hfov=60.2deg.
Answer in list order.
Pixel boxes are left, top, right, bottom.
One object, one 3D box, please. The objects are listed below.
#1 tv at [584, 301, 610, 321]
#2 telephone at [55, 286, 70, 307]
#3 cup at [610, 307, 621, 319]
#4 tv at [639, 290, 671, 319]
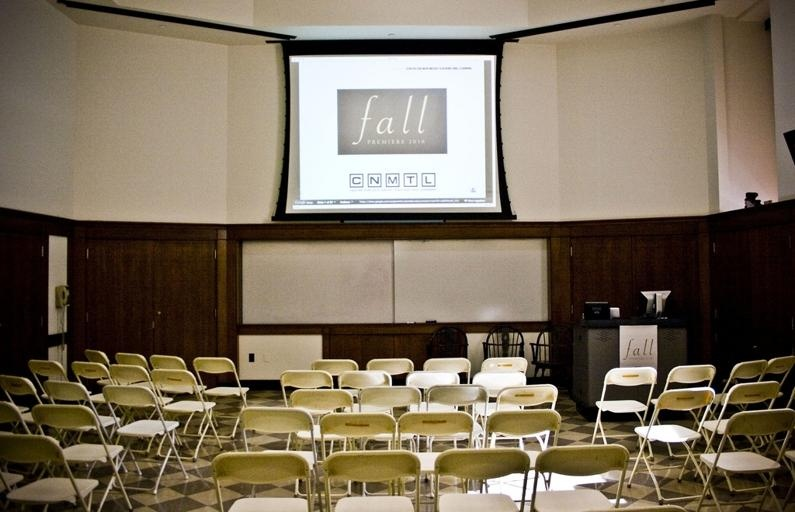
[{"bbox_3d":[3.469,0.927,11.801,0.441,0.322,0.276,1,0,3],"label":"tv"},{"bbox_3d":[-6.284,0.730,12.873,0.111,0.375,0.386,-1,-1,-1],"label":"telephone"},{"bbox_3d":[3.875,0.983,12.159,0.250,0.250,0.140,0,7,4],"label":"cup"},{"bbox_3d":[4.562,0.809,12.176,0.608,0.698,0.391,2,0,9],"label":"tv"}]
